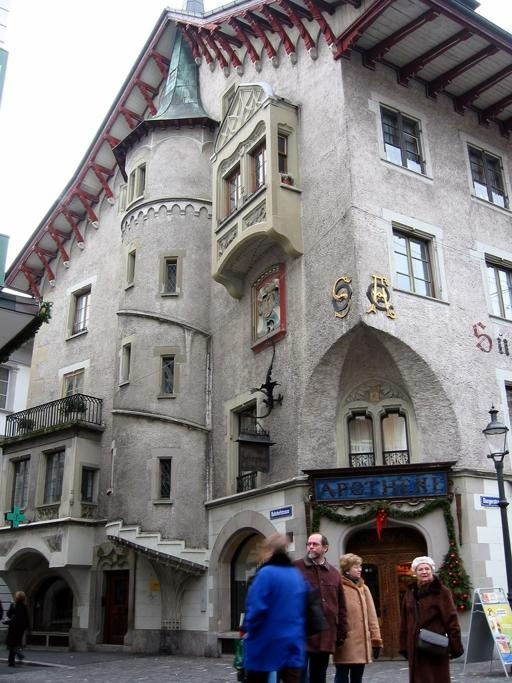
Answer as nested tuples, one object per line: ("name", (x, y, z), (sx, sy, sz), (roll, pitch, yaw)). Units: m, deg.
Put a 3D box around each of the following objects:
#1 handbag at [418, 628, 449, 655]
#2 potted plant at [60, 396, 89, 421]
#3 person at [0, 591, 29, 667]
("handbag", (1.365, 2.323, 4.851), (0.202, 0.138, 0.051), (14, -18, 22))
("potted plant", (-7.129, 2.670, 24.809), (1.079, 0.956, 0.364), (-2, -4, 44))
("person", (-5.763, 6.898, 15.083), (0.497, 1.667, 1.252), (7, -20, -18))
